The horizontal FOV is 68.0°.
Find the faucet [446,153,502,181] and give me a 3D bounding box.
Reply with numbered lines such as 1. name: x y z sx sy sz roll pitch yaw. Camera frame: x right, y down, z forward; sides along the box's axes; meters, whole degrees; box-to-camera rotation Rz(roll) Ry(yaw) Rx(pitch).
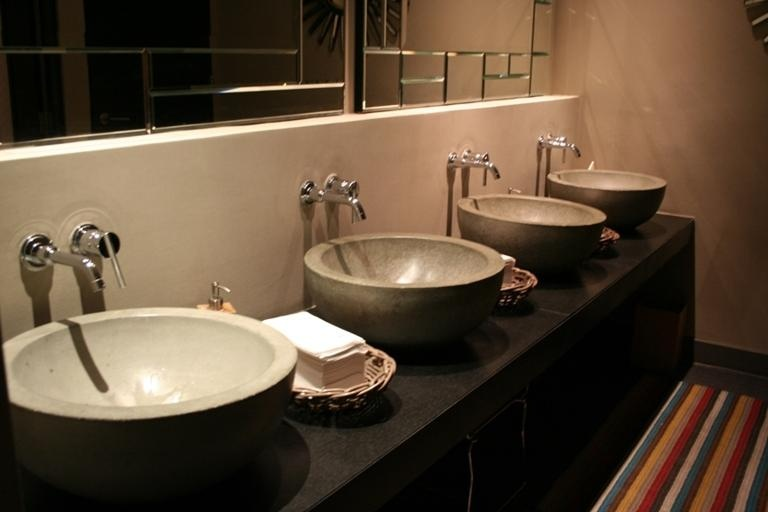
1. faucet: 0.378 -0.360 2.187 0.226 0.086 0.208 11 23 38

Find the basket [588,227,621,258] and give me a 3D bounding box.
1. basket: 0.872 -0.057 2.306 0.141 0.063 0.144 7 20 43

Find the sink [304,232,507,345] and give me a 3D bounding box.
1. sink: 0.061 0.077 1.589 0.525 0.208 0.458 0 18 11

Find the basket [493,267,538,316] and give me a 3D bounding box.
1. basket: 0.402 0.111 1.781 0.143 0.051 0.133 4 16 28

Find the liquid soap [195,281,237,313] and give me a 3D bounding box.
1. liquid soap: -0.408 0.094 1.419 0.090 0.066 0.095 12 18 36

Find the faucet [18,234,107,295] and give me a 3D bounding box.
1. faucet: -0.640 -0.011 1.169 0.233 0.112 0.103 14 24 39

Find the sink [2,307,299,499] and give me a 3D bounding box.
1. sink: -0.445 0.255 1.017 0.372 0.150 0.381 12 15 19

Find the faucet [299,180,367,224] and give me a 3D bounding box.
1. faucet: -0.104 -0.169 1.653 0.255 0.103 0.169 12 23 40
